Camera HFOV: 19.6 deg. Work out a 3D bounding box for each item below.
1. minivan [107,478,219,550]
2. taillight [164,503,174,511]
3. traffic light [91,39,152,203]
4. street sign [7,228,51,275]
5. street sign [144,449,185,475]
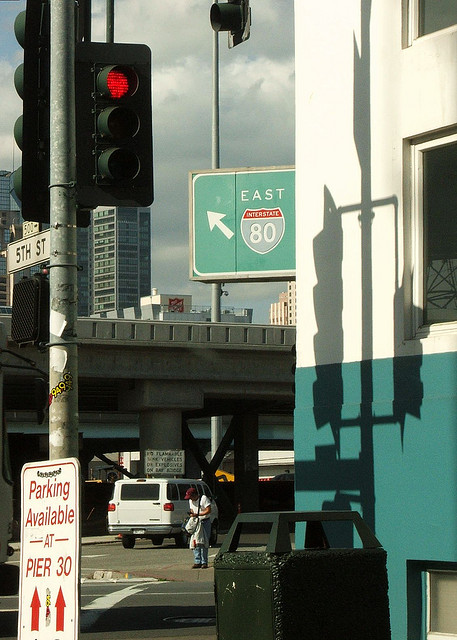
[{"bbox_3d":[-1.699,4.557,31.811,1.398,1.854,3.089,0,-6,13],"label":"minivan"},{"bbox_3d":[-1.365,4.176,30.177,0.203,0.251,0.129,0,1,15],"label":"taillight"},{"bbox_3d":[-0.799,-1.479,9.904,0.464,1.212,0.270,1,-3,-8],"label":"traffic light"},{"bbox_3d":[-1.556,-0.540,10.254,0.117,0.270,0.769,2,-5,-31],"label":"street sign"},{"bbox_3d":[-1.844,4.026,38.114,1.006,0.693,1.464,0,-5,3],"label":"street sign"}]
